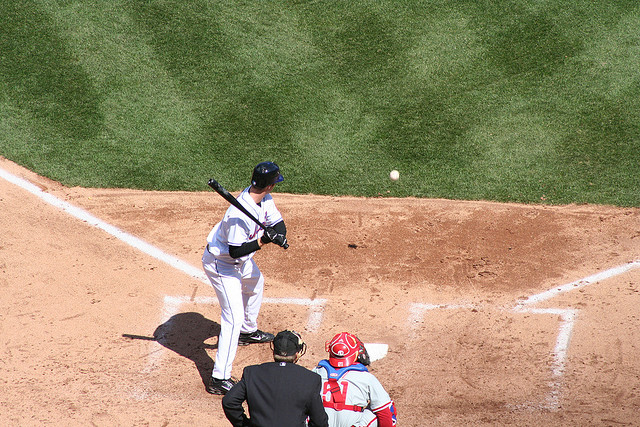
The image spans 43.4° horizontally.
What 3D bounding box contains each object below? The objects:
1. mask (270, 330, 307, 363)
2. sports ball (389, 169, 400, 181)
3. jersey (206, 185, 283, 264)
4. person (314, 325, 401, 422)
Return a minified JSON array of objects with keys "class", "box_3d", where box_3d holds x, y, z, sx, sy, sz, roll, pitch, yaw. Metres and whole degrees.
[{"class":"mask","box_3d":[-0.491,2.038,12.517,0.480,0.337,0.630,7,93,8]},{"class":"sports ball","box_3d":[1.701,-0.897,18.304,0.230,0.221,0.372,7,57,5]},{"class":"jersey","box_3d":[-1.246,0.266,13.791,1.089,1.407,1.166,29,41,6]},{"class":"person","box_3d":[0.614,2.684,13.022,1.406,1.435,0.847,6,28,17]}]
